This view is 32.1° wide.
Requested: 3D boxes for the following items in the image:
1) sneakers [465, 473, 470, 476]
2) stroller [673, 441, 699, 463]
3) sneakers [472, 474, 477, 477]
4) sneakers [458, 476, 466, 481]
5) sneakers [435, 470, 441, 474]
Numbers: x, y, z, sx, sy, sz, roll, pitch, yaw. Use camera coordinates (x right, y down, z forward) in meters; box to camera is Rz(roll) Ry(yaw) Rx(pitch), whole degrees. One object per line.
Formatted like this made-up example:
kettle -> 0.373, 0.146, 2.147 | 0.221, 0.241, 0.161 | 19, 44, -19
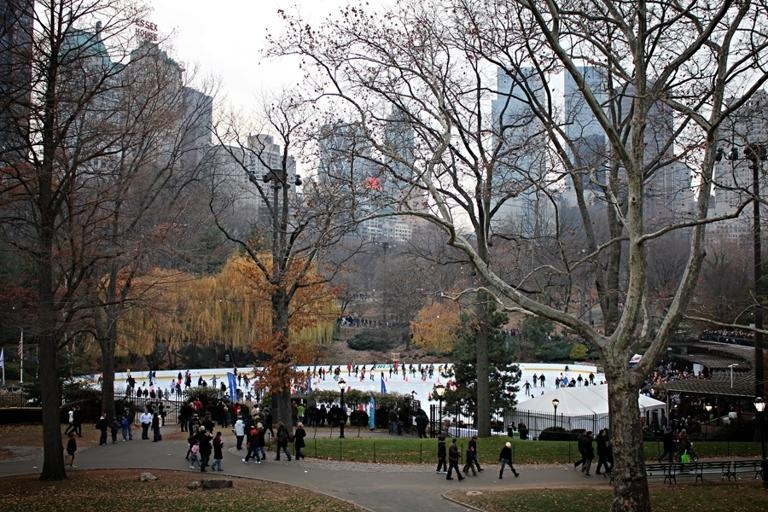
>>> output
sneakers -> 4.014, 10.320, 63.171 | 0.142, 0.126, 0.292 | -1, -13, 4
stroller -> 14.310, 9.292, 63.304 | 1.309, 1.213, 0.787 | -2, 5, -31
sneakers -> 4.411, 10.326, 63.207 | 0.223, 0.127, 0.305 | 0, -13, 1
sneakers -> 3.700, 10.318, 62.362 | 0.353, 0.234, 0.124 | -3, 1, -25
sneakers -> 2.681, 10.240, 63.554 | 0.286, 0.130, 0.329 | 0, -13, 2
